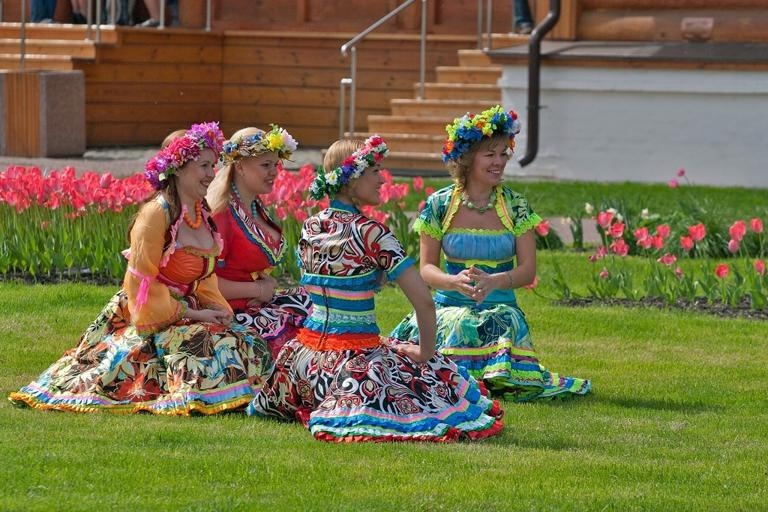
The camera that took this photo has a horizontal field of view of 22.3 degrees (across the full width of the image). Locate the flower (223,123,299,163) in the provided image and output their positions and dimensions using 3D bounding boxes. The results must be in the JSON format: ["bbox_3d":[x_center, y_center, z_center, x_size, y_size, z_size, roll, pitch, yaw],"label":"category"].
[{"bbox_3d":[-1.323,-1.167,20.159,0.491,0.246,0.491,-11,8,-5],"label":"flower"}]
